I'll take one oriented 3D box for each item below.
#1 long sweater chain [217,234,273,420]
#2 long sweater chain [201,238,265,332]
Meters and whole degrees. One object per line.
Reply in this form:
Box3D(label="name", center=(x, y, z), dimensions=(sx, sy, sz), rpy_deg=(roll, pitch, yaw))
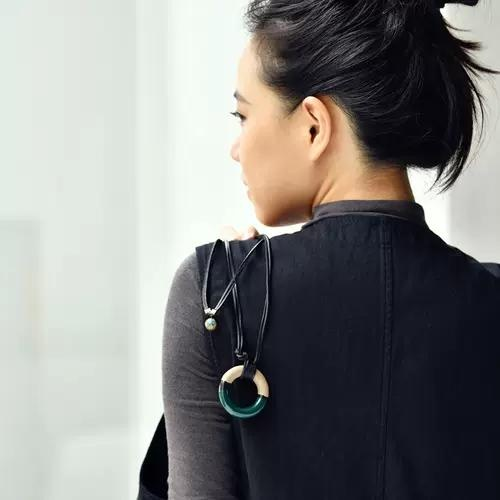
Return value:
Box3D(label="long sweater chain", center=(-0.004, 0.104, 0.975), dimensions=(0.080, 0.234, 0.043), rpy_deg=(-3, 4, -19))
Box3D(label="long sweater chain", center=(-0.026, 0.050, 0.976), dimensions=(0.061, 0.123, 0.028), rpy_deg=(2, -15, 29))
